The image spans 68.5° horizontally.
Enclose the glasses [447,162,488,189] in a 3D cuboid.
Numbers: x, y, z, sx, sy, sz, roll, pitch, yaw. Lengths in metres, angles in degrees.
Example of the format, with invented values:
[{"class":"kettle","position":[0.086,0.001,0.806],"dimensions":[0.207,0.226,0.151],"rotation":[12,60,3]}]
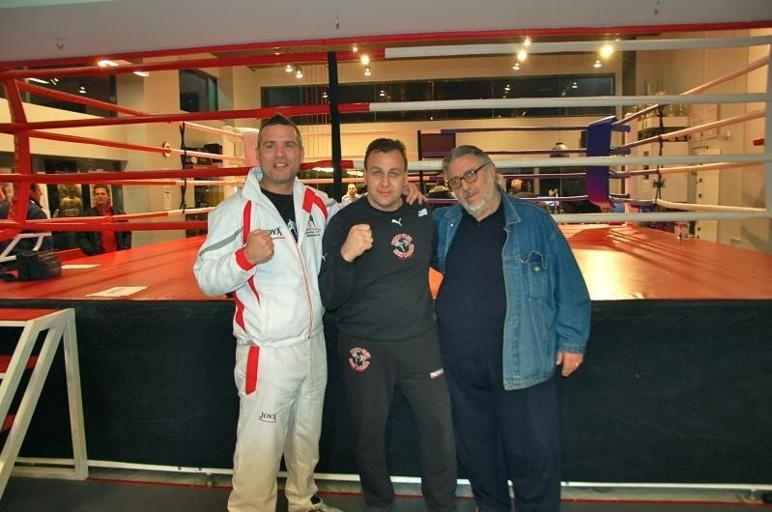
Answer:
[{"class":"glasses","position":[0.471,-0.468,3.356],"dimensions":[0.193,0.052,0.188],"rotation":[-20,6,27]}]

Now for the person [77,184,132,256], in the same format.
[{"class":"person","position":[-3.199,-0.423,6.431],"dimensions":[0.471,0.794,0.872],"rotation":[-2,4,-20]}]

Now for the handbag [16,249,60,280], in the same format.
[{"class":"handbag","position":[-2.581,0.066,4.267],"dimensions":[0.276,0.159,0.253],"rotation":[-2,3,9]}]
